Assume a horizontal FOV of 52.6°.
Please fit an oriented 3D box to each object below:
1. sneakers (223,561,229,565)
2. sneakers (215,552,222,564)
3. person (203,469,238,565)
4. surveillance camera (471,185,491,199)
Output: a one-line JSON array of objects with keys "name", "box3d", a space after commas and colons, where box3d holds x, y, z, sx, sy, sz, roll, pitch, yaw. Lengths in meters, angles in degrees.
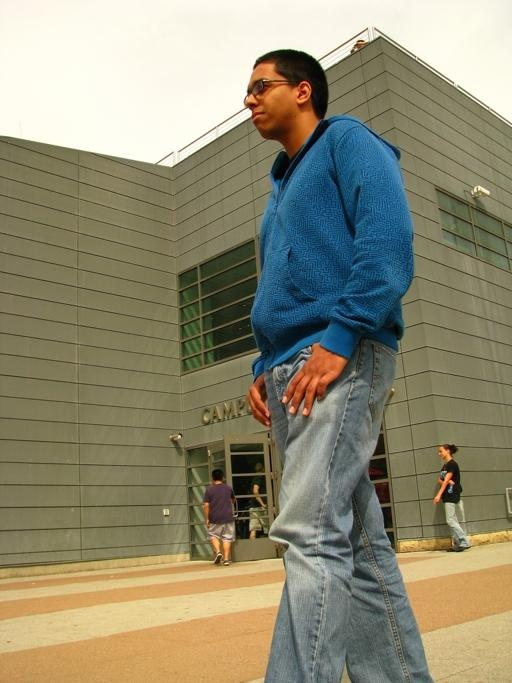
[{"name": "sneakers", "box3d": [-0.730, 5.324, 12.474, 0.131, 0.114, 0.120, -3, -4, 5]}, {"name": "sneakers", "box3d": [-0.938, 5.404, 13.017, 0.186, 0.190, 0.475, 2, -44, -15]}, {"name": "person", "box3d": [-0.904, 4.386, 13.005, 0.741, 2.310, 1.075, -4, -16, -5]}, {"name": "surveillance camera", "box3d": [7.053, -4.791, 16.260, 0.526, 0.165, 0.503, -10, 27, -26]}]
